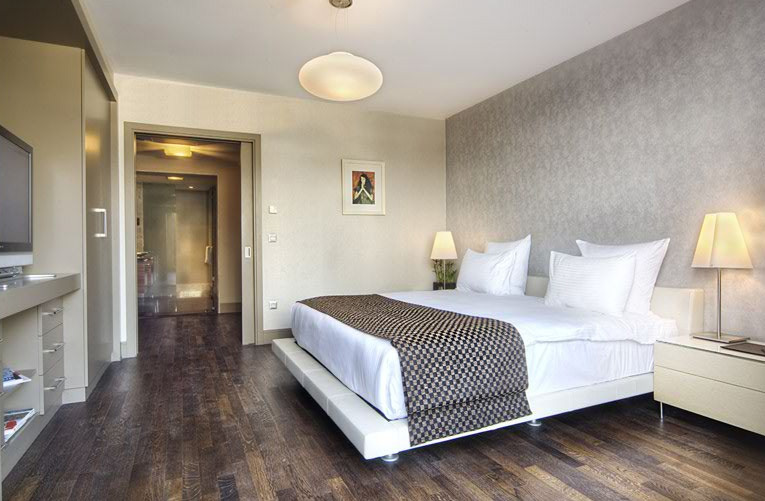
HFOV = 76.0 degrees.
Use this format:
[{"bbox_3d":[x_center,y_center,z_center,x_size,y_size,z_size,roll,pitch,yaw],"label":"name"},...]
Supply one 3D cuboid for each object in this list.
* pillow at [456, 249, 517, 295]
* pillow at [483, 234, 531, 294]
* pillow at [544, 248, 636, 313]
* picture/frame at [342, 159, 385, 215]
[{"bbox_3d":[1.208,0.249,5.868,0.316,0.512,0.845,5,1,-25],"label":"pillow"},{"bbox_3d":[1.473,0.192,5.856,0.316,0.685,0.835,-9,2,-31],"label":"pillow"},{"bbox_3d":[1.978,0.316,4.759,0.328,0.600,0.856,3,1,-32],"label":"pillow"},{"bbox_3d":[-0.298,-0.866,6.665,0.808,0.893,0.063,0,-3,-30],"label":"picture/frame"}]
